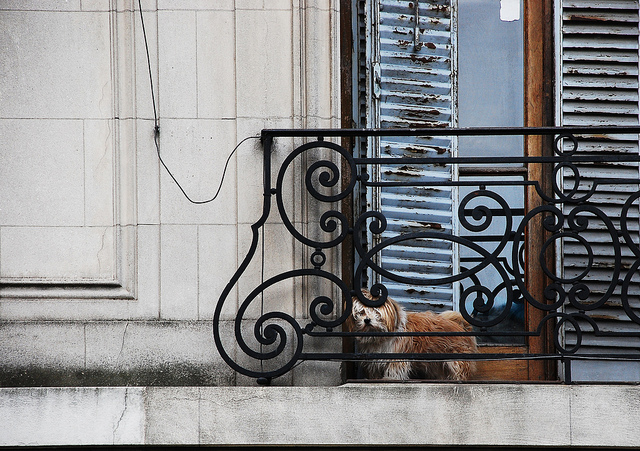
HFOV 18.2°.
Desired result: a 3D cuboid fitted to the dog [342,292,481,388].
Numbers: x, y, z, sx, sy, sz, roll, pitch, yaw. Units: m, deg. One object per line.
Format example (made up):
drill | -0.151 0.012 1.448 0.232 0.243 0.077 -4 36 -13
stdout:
dog | 0.657 0.845 15.201 1.280 0.655 0.428 5 -1 -32
